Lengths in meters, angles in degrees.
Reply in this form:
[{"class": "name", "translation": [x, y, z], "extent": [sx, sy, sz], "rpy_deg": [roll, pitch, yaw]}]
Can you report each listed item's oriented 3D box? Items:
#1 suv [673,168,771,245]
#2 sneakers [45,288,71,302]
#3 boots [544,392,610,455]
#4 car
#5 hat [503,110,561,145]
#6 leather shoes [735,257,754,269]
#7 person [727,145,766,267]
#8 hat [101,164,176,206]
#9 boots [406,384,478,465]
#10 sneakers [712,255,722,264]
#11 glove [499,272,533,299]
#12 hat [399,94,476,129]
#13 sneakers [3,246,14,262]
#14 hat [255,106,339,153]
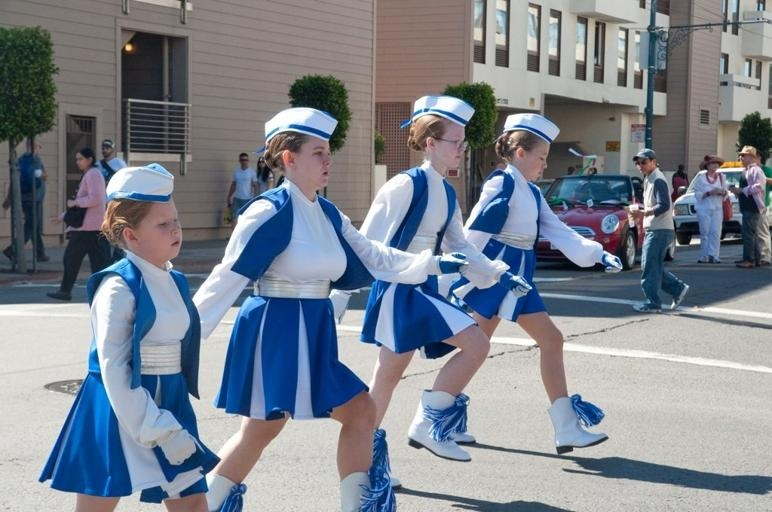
[{"class": "suv", "translation": [8.442, -1.338, 23.468], "extent": [1.748, 1.843, 3.633], "rpy_deg": [-1, -1, 32]}, {"class": "sneakers", "translation": [-4.942, 0.595, 13.590], "extent": [0.435, 0.208, 0.157], "rpy_deg": [10, 7, 3]}, {"class": "boots", "translation": [1.565, 1.392, 7.394], "extent": [0.530, 0.485, 0.218], "rpy_deg": [-13, -18, 30]}, {"class": "car", "translation": [3.950, -0.782, 17.958], "extent": [1.814, 1.698, 3.464], "rpy_deg": [-1, 0, 33]}, {"class": "hat", "translation": [1.273, -1.140, 7.902], "extent": [0.345, 0.161, 0.313], "rpy_deg": [18, 1, 22]}, {"class": "leather shoes", "translation": [7.321, 0.167, 18.316], "extent": [0.368, 0.175, 0.159], "rpy_deg": [-2, 6, 11]}, {"class": "person", "translation": [7.491, -0.811, 18.317], "extent": [0.955, 2.109, 0.515], "rpy_deg": [-5, 10, -37]}, {"class": "hat", "translation": [-1.492, -0.433, 5.419], "extent": [0.445, 0.236, 0.350], "rpy_deg": [-1, 0, -8]}, {"class": "boots", "translation": [0.512, 1.340, 7.215], "extent": [0.563, 0.514, 0.483], "rpy_deg": [7, 5, -36]}, {"class": "sneakers", "translation": [7.210, 0.087, 19.593], "extent": [0.150, 0.196, 0.248], "rpy_deg": [3, -6, 2]}, {"class": "glove", "translation": [0.957, 0.213, 6.776], "extent": [0.184, 0.112, 0.222], "rpy_deg": [40, -8, -4]}, {"class": "hat", "translation": [0.351, -1.160, 7.286], "extent": [0.617, 0.264, 0.589], "rpy_deg": [0, -1, 21]}, {"class": "sneakers", "translation": [-7.258, -0.034, 17.225], "extent": [0.105, 0.157, 0.359], "rpy_deg": [7, -35, -13]}, {"class": "hat", "translation": [-0.617, -0.897, 6.155], "extent": [0.506, 0.230, 0.450], "rpy_deg": [-3, -5, 12]}]
